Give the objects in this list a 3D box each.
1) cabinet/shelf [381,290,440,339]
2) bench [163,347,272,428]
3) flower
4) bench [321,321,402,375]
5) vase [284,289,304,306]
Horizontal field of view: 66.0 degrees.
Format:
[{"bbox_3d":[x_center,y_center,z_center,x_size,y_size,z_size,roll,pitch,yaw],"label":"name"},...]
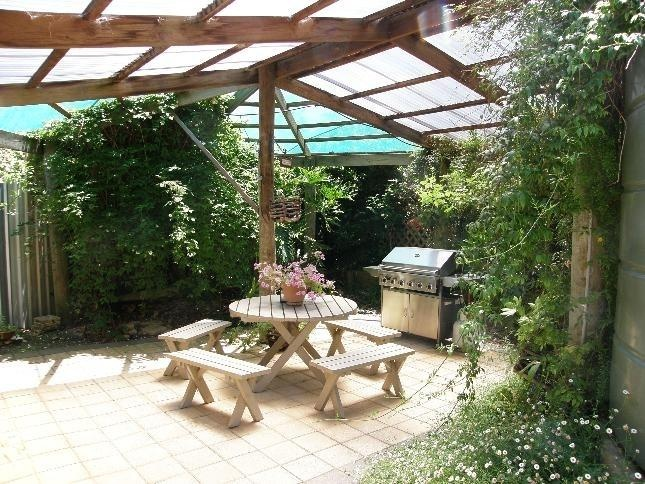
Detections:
[{"bbox_3d":[1.221,0.988,6.715,0.335,0.456,0.932,2,0,-42],"label":"cabinet/shelf"},{"bbox_3d":[-0.997,1.379,4.750,0.634,0.525,0.979,-5,9,-32],"label":"bench"},{"bbox_3d":[-0.348,0.453,5.809,1.034,0.522,0.897,1,1,-1],"label":"flower"},{"bbox_3d":[0.439,1.214,5.551,0.389,0.390,0.841,-7,10,-44],"label":"bench"},{"bbox_3d":[-0.313,0.612,5.420,0.234,0.139,0.221,-2,-5,32],"label":"vase"}]
